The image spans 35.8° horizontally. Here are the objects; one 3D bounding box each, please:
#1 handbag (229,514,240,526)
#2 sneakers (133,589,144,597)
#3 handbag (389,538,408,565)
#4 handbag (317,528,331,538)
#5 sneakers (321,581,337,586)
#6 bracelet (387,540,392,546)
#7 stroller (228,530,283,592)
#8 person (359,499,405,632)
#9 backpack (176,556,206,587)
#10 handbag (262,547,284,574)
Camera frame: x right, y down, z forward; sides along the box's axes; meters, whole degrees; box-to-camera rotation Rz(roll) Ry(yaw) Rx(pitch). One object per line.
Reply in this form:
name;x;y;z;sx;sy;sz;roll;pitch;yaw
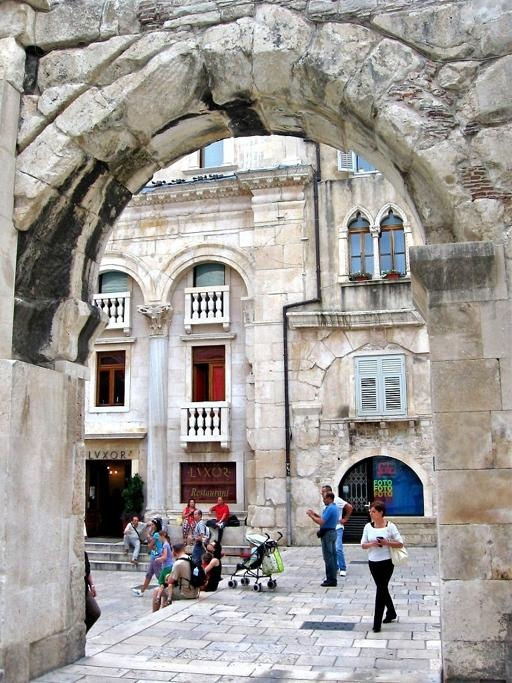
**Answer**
handbag;-0.588;4.630;20.442;0.337;0.120;0.356;-3;11;1
sneakers;-2.304;4.899;15.418;0.120;0.123;0.334;15;-4;-18
handbag;1.580;2.400;8.820;0.175;0.200;0.179;-2;-11;8
handbag;1.067;3.043;12.567;0.200;0.154;0.391;-1;-10;3
sneakers;1.179;3.959;12.892;0.263;0.089;0.082;2;-17;9
bracelet;1.474;2.238;8.769;0.058;0.056;0.072;-2;-11;8
stroller;-0.040;3.671;13.211;0.911;0.839;0.701;-10;-14;41
person;1.459;2.580;9.117;0.436;1.424;0.982;-3;-12;8
backpack;-1.002;3.556;12.164;0.326;0.499;0.915;-1;-11;2
handbag;0.274;3.627;13.011;0.404;0.424;0.272;5;-13;-26
